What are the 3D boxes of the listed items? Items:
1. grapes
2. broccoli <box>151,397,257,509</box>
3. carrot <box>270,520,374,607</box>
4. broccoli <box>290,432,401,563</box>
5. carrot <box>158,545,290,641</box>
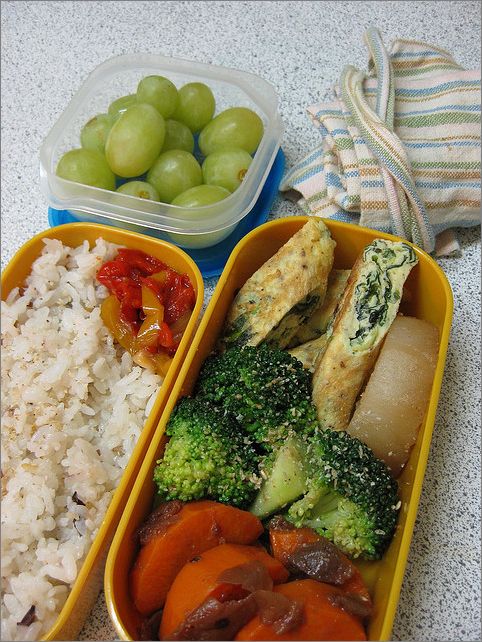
[{"bbox_3d":[-0.224,-0.494,1.700,0.528,0.261,0.482,8,56,9],"label":"grapes"},{"bbox_3d":[-0.080,0.297,1.314,0.248,0.078,0.221,0,78,-1],"label":"broccoli"},{"bbox_3d":[0.150,0.474,1.237,0.223,0.065,0.105,31,53,27],"label":"carrot"},{"bbox_3d":[0.222,0.389,1.293,0.196,0.169,0.192,-41,36,-9],"label":"broccoli"},{"bbox_3d":[-0.058,0.499,1.174,0.221,0.172,0.092,-44,104,-4],"label":"carrot"}]
